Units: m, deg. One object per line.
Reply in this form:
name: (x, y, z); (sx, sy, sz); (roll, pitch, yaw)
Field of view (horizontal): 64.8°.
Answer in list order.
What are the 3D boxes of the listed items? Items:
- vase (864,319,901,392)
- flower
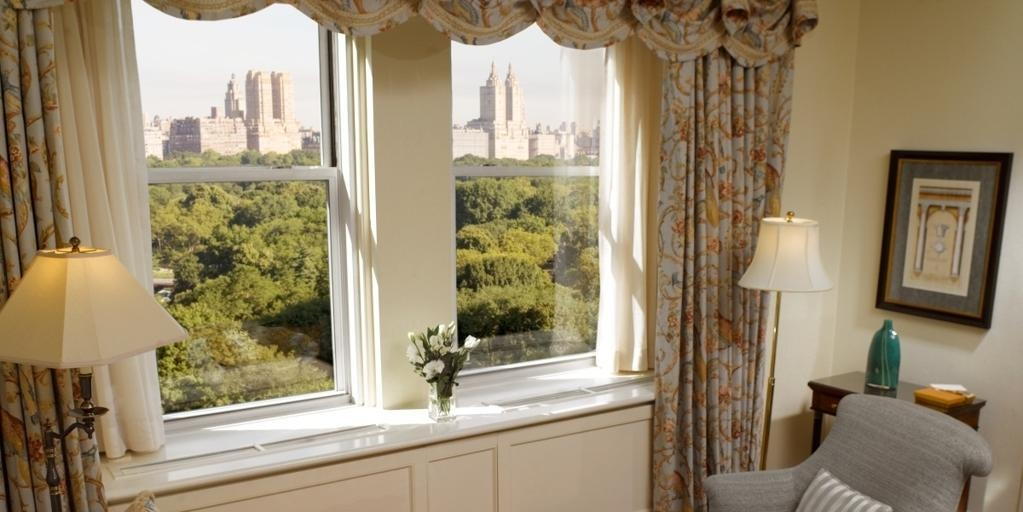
vase: (2.593, 0.699, 5.652); (0.208, 0.501, 0.218); (2, 11, 23)
flower: (-0.449, 0.748, 5.282); (0.460, 0.600, 0.258); (-4, 10, -8)
